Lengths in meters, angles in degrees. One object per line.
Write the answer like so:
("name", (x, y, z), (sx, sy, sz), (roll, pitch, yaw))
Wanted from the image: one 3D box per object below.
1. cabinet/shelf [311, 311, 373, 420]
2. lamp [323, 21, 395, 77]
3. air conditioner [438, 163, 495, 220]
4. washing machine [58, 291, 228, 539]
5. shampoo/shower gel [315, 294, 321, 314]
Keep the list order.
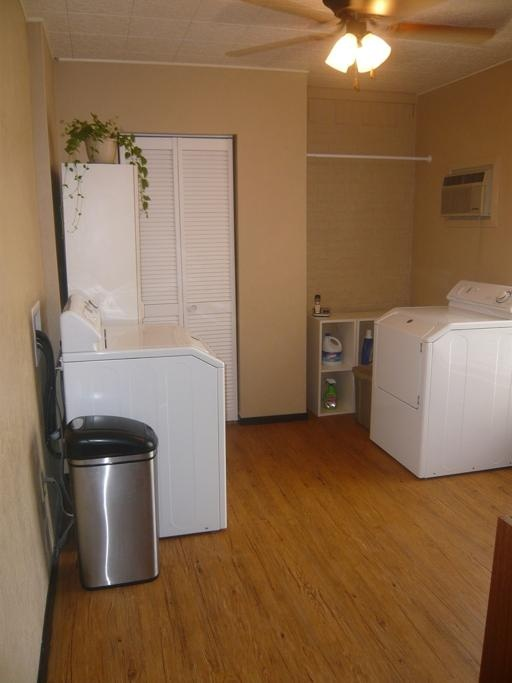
("cabinet/shelf", (0.646, 0.197, 3.913), (0.646, 0.777, 0.222), (1, 3, -36))
("lamp", (0.389, -1.151, 2.072), (0.206, 0.225, 0.276), (-1, 8, -5))
("air conditioner", (1.446, -1.011, 3.588), (0.097, 0.371, 0.506), (-2, 9, -10))
("washing machine", (-0.621, 0.416, 2.322), (0.831, 1.011, 0.627), (14, -33, -35))
("shampoo/shower gel", (0.469, -0.271, 3.993), (0.046, 0.143, 0.068), (0, 8, 7))
